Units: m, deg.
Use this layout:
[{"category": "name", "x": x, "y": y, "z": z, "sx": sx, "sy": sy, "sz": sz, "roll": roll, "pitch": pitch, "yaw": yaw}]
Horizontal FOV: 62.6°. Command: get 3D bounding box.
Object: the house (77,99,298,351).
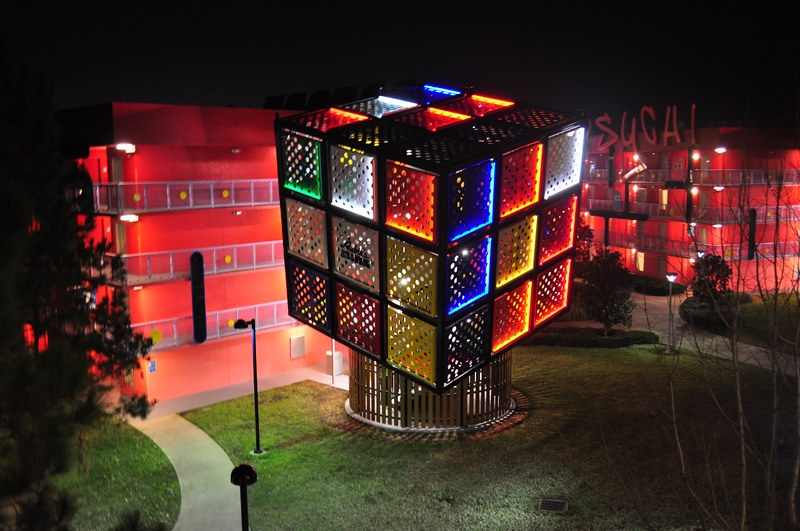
[{"category": "house", "x": -8.365, "y": -1.598, "z": 26.924, "sx": 8.647, "sy": 8.062, "sz": 5.903, "roll": -9, "pitch": 14, "yaw": -44}]
